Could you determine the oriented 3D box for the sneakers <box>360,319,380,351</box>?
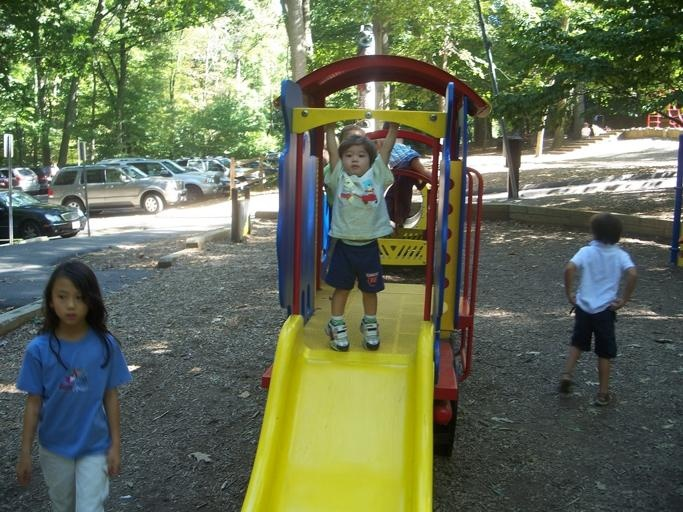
[{"bbox_3d":[0.198,0.551,4.405,0.096,0.109,0.247,0,24,-2],"label":"sneakers"}]

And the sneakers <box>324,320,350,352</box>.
[{"bbox_3d":[-0.037,0.554,4.357,0.095,0.113,0.272,-2,16,-12],"label":"sneakers"}]

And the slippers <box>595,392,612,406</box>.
[{"bbox_3d":[2.208,1.217,5.206,0.078,0.077,0.177,-4,-6,20],"label":"slippers"}]
